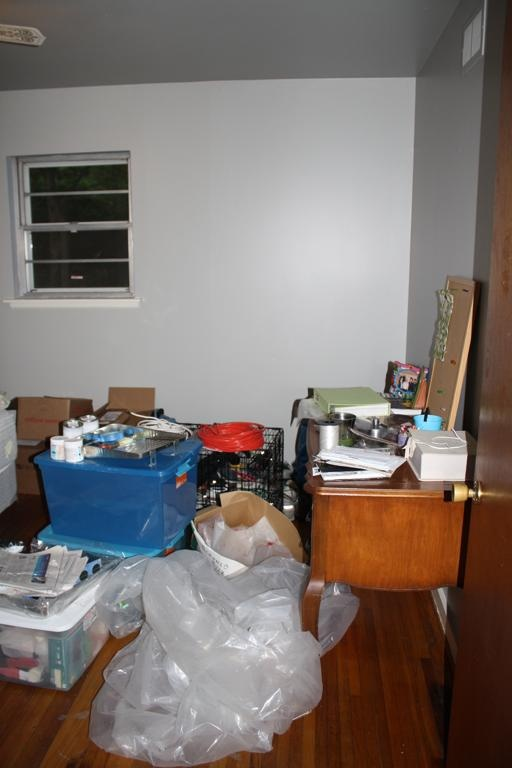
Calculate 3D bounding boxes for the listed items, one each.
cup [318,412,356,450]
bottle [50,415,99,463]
[{"bbox_3d":[0.263,0.145,1.834,0.108,0.124,0.109,-1,3,0],"label":"cup"},{"bbox_3d":[-0.671,0.212,2.084,0.100,0.138,0.205,1,3,2],"label":"bottle"}]
